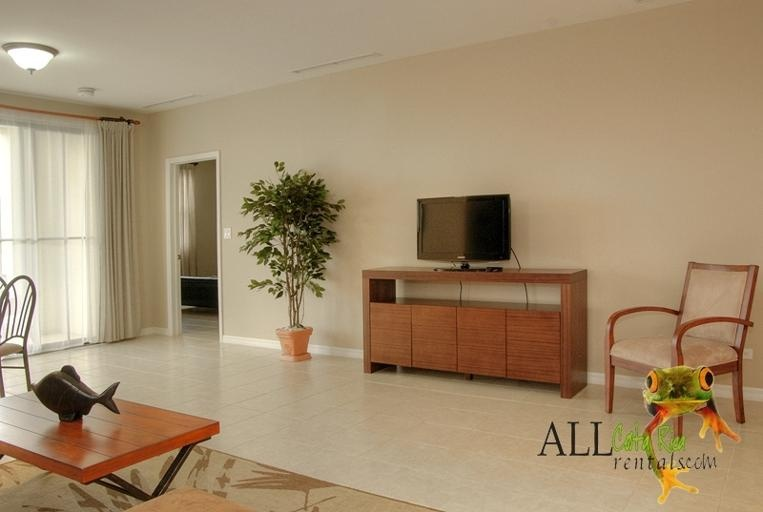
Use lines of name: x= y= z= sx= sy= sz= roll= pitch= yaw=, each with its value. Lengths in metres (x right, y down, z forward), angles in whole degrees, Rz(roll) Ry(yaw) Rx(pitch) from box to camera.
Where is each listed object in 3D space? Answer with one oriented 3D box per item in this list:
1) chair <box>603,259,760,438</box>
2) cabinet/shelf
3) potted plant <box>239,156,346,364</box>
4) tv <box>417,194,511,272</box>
chair: x=2.504 y=0.680 z=4.137 sx=1.150 sy=1.267 sz=0.728 roll=1 pitch=4 yaw=-25
cabinet/shelf: x=0.907 y=0.679 z=5.076 sx=2.141 sy=1.217 sz=0.437 roll=4 pitch=4 yaw=24
potted plant: x=-1.157 y=0.018 z=6.116 sx=1.281 sy=2.360 sz=0.756 roll=5 pitch=4 yaw=37
tv: x=0.878 y=-0.249 z=5.181 sx=0.898 sy=0.568 sz=0.150 roll=1 pitch=5 yaw=25
